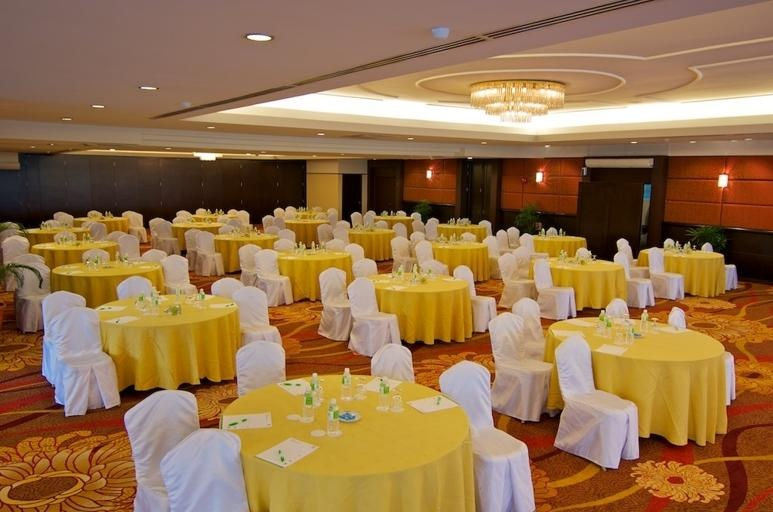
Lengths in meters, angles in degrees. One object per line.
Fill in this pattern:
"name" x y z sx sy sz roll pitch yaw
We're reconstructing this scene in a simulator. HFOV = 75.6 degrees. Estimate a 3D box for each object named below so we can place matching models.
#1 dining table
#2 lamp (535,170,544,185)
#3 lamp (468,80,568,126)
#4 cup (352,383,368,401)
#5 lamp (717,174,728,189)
"dining table" 3.298 1.520 6.325 1.577 0.663 1.623 -1 7 -2
"lamp" 5.396 -2.814 17.780 0.355 0.455 0.221 -1 -1 36
"lamp" 2.441 -2.986 9.472 0.970 0.423 0.997 3 7 36
"cup" -0.293 1.426 5.196 0.111 0.122 0.120 0 1 0
"lamp" 9.389 -2.071 13.898 0.084 0.348 0.335 4 1 -40
